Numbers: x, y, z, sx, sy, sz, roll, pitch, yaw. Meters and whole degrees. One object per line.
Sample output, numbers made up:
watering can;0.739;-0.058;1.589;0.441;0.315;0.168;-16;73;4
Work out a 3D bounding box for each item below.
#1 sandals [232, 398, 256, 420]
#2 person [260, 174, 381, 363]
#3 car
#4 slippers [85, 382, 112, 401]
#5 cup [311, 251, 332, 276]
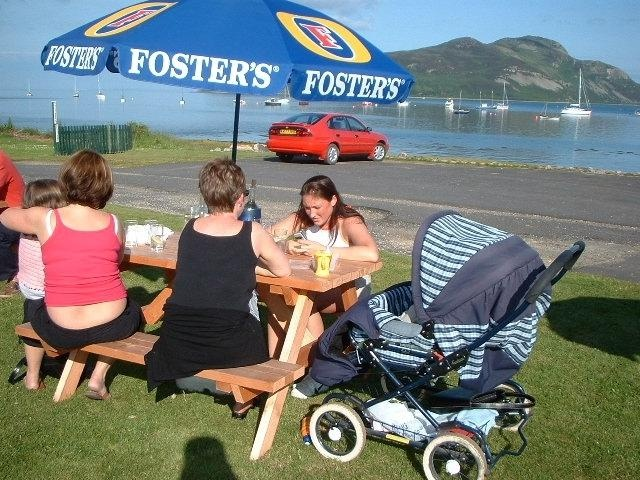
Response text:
sandals;-0.600;1.323;3.984;0.091;0.104;0.258;6;13;19
person;0.007;0.312;4.621;1.043;1.719;1.130;1;4;37
car;0.529;-3.991;20.296;2.257;1.580;4.473;13;20;41
slippers;-1.788;1.222;3.994;0.100;0.091;0.211;6;-7;-16
cup;0.017;0.182;3.924;0.157;0.180;0.159;1;7;0
